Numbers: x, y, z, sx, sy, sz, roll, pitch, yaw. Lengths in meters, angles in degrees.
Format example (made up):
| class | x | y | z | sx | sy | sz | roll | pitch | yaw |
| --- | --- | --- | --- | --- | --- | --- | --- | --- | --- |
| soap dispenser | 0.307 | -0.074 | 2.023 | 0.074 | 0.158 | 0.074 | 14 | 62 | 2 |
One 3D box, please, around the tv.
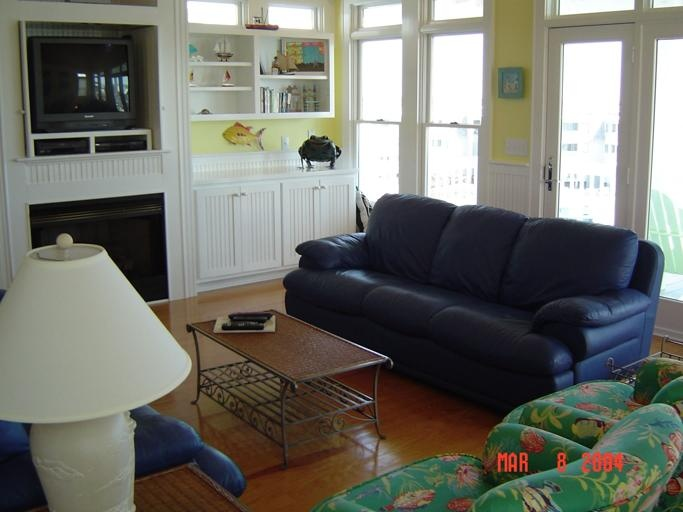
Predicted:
| class | x | y | z | sx | sy | sz | roll | pitch | yaw |
| --- | --- | --- | --- | --- | --- | --- | --- | --- | --- |
| tv | -2.485 | -1.634 | 4.923 | 0.918 | 0.759 | 0.464 | -9 | 14 | -41 |
